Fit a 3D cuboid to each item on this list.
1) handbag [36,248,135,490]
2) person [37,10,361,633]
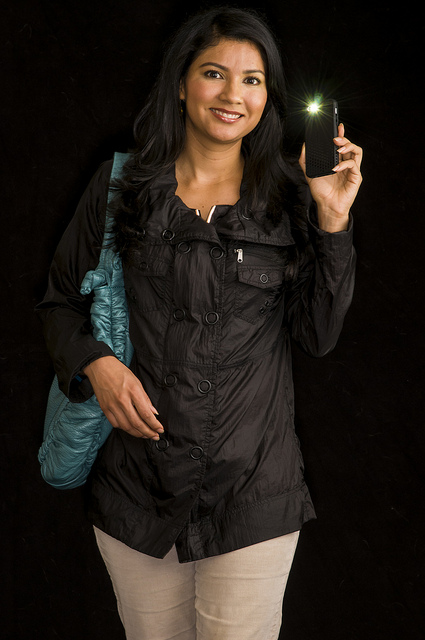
[{"bbox_3d":[-0.318,0.126,1.508,0.148,0.540,0.340,14,6,-11],"label":"handbag"},{"bbox_3d":[-0.051,0.039,1.494,0.747,1.430,0.920,6,31,12],"label":"person"}]
